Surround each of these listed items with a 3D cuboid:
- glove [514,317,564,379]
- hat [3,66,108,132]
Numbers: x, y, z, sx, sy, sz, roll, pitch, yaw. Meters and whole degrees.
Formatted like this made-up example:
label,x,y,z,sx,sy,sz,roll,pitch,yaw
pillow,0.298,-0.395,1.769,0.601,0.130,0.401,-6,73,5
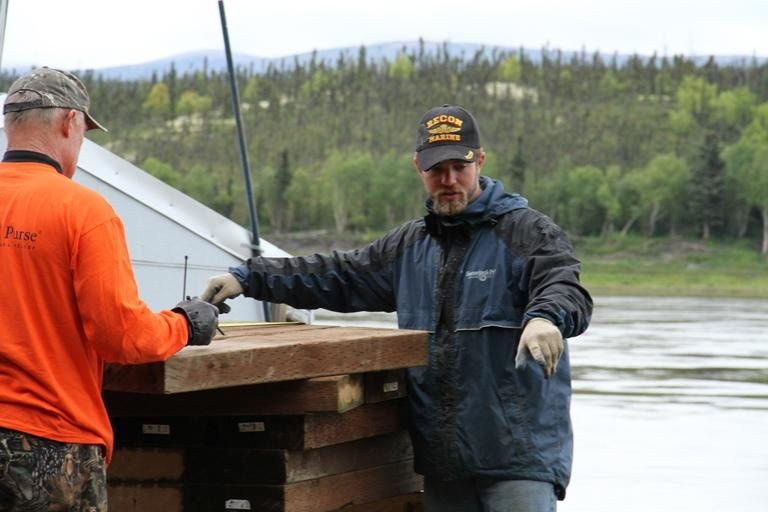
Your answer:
label,x,y,z,sx,sy,sz,roll,pitch,yaw
glove,1.396,0.841,13.757,0.432,0.482,0.712,-8,-6,4
hat,-2.945,-1.351,13.450,0.754,0.450,0.528,1,1,-41
